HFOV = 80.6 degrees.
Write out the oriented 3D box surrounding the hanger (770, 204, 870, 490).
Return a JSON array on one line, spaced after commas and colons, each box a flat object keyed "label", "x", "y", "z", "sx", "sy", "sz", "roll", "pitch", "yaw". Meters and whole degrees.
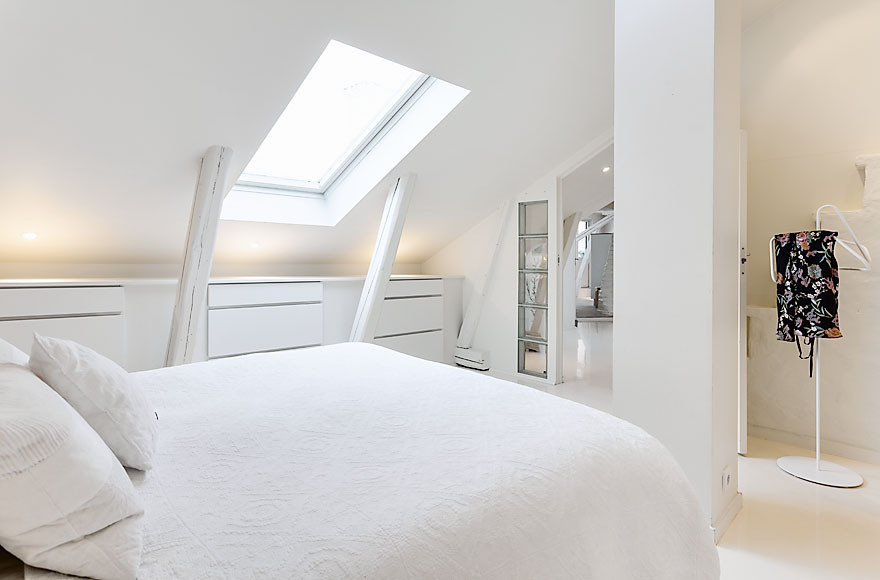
[{"label": "hanger", "x": 2.357, "y": 0.295, "z": 3.245, "sx": 0.595, "sy": 1.723, "sz": 0.522, "roll": 8, "pitch": -3, "yaw": -45}]
